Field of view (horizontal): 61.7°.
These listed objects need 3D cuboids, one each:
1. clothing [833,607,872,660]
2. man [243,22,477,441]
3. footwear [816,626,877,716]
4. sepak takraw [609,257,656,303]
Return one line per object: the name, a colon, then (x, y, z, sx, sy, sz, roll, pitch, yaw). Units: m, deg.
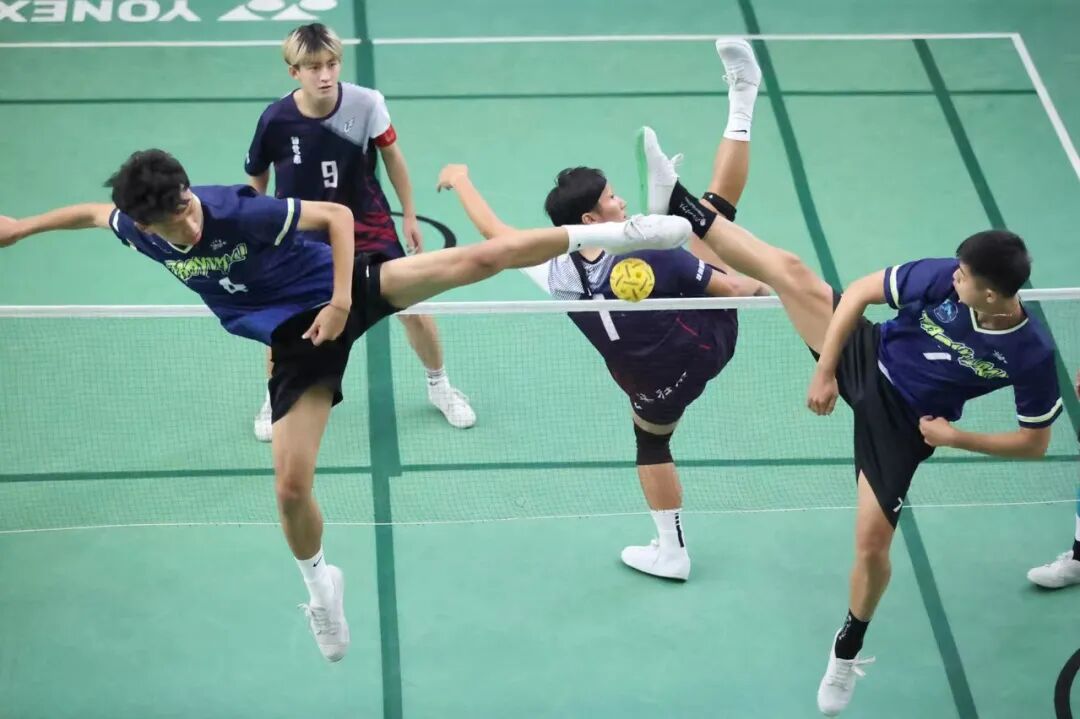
clothing: (1.746, 1.573, 5.110, 0.135, 0.340, 0.323, 11, -24, 1)
man: (-1.273, -0.773, 6.133, 1.566, 3.080, 0.867, -12, 39, -21)
footwear: (1.740, 1.874, 5.336, 0.294, 0.517, 0.205, 18, 18, -4)
sepak takraw: (0.545, -0.481, 5.337, 0.244, 0.240, 0.241, -34, 38, -29)
